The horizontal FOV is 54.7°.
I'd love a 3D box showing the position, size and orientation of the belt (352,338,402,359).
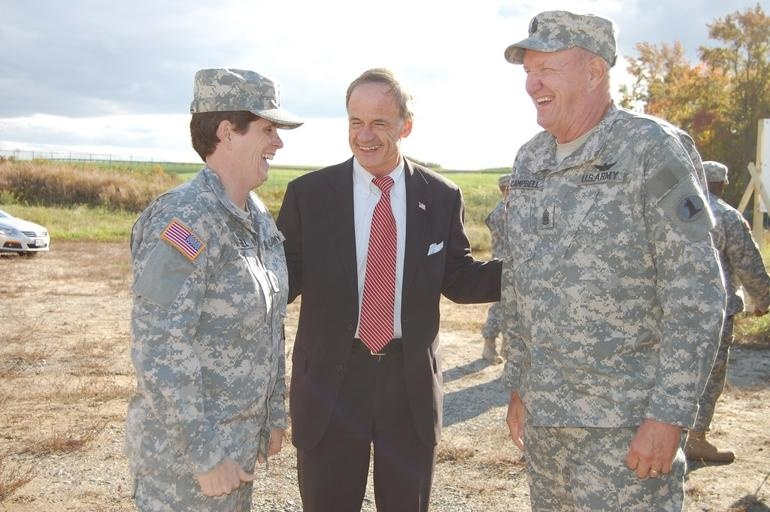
[{"bbox_3d":[-0.046,0.699,5.860,0.348,0.146,0.046,2,5,-2],"label":"belt"}]
